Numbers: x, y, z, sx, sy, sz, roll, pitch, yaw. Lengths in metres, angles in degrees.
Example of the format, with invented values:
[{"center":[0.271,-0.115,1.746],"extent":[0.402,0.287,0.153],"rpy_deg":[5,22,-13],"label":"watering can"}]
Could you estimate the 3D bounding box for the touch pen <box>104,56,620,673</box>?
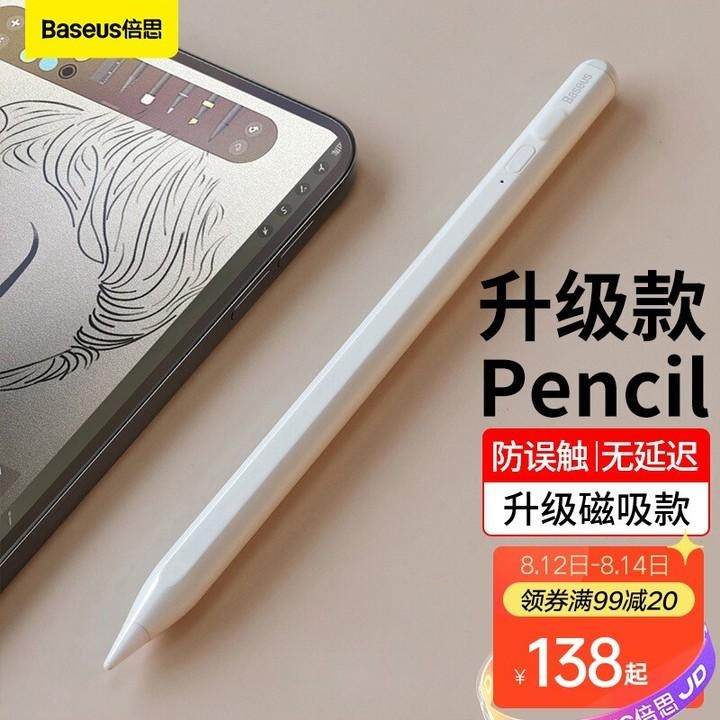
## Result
[{"center":[0.001,0.013,0.447],"extent":[0.032,0.427,0.035],"rpy_deg":[37,-15,1],"label":"touch pen"}]
